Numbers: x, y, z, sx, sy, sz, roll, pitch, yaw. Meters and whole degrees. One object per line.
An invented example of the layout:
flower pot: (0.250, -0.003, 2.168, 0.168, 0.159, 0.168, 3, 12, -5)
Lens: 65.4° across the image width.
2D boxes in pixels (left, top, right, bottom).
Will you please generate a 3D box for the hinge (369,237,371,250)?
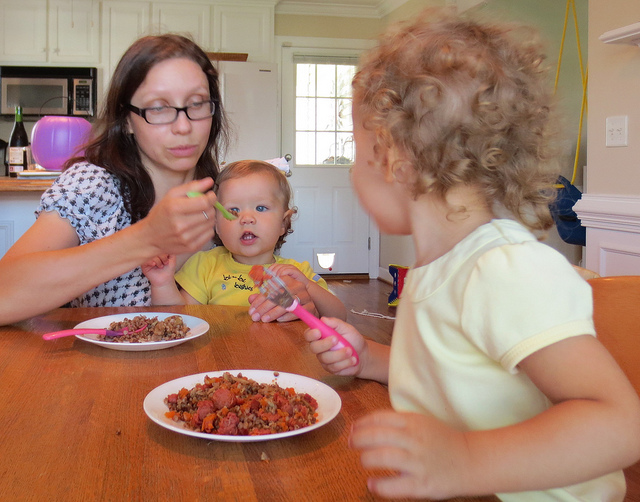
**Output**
hinge: (0.581, -0.099, 5.780, 0.019, 0.111, 0.010, 3, 11, 12)

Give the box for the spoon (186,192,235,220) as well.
spoon: (-0.218, -0.083, 0.977, 0.086, 0.058, 0.189, -2, 11, -13)

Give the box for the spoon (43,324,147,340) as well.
spoon: (-0.458, 0.168, 1.027, 0.196, 0.023, 0.054, -2, 11, -17)
